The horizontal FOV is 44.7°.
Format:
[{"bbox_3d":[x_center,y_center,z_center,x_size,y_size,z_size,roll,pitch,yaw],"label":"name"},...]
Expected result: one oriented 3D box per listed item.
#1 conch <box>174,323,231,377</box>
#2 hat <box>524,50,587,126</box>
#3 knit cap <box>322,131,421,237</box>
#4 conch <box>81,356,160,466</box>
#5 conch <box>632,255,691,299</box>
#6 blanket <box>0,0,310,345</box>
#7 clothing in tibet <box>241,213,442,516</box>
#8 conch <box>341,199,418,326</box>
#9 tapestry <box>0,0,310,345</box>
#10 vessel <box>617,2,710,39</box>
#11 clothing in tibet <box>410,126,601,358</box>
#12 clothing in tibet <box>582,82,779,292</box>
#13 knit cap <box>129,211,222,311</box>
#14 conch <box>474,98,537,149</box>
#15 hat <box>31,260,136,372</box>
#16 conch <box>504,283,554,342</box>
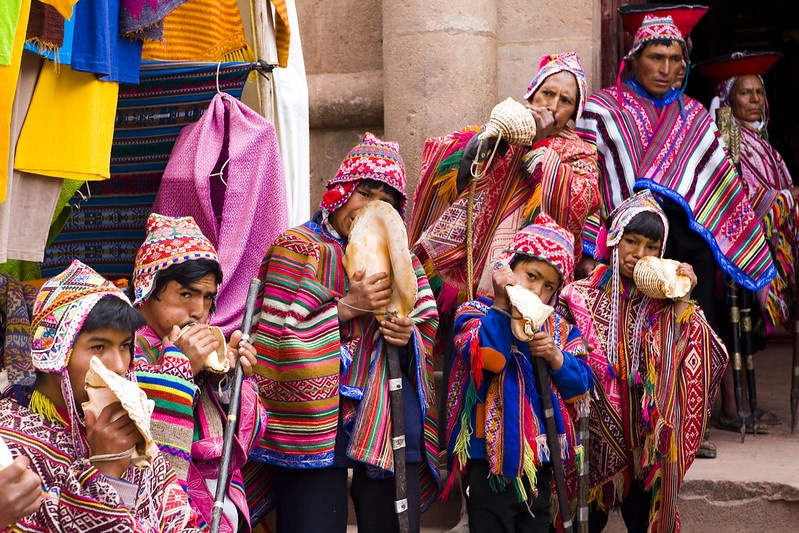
[{"bbox_3d":[-0.874,0.360,4.418,0.191,0.242,0.103,-22,6,-23],"label":"conch"},{"bbox_3d":[0.942,-1.080,5.961,0.352,0.436,0.421,6,-9,-1],"label":"hat"},{"bbox_3d":[-0.134,-0.460,5.048,0.391,0.444,0.411,20,-24,-26],"label":"knit cap"},{"bbox_3d":[-1.110,0.576,3.831,0.277,0.435,0.172,3,-2,-20],"label":"conch"},{"bbox_3d":[1.419,0.056,5.260,0.234,0.228,0.251,4,-3,-39],"label":"conch"},{"bbox_3d":[-0.869,-0.427,5.590,1.353,1.877,0.539,3,-5,0],"label":"blanket"},{"bbox_3d":[-0.379,0.464,4.770,0.988,1.511,0.396,5,-7,-29],"label":"clothing in tibet"},{"bbox_3d":[-0.110,-0.004,4.801,0.439,0.745,0.226,-9,-43,6],"label":"conch"},{"bbox_3d":[-0.865,-0.419,5.585,1.353,1.877,0.539,3,-5,0],"label":"tapestry"},{"bbox_3d":[1.753,-1.723,6.634,0.369,0.145,0.353,-1,3,-44],"label":"vessel"},{"bbox_3d":[0.567,-0.304,5.749,0.978,1.281,0.709,13,-22,-2],"label":"clothing in tibet"},{"bbox_3d":[1.797,-0.499,6.324,1.221,1.290,0.299,-16,-13,-4],"label":"clothing in tibet"},{"bbox_3d":[-1.075,-0.041,4.546,0.415,0.449,0.395,4,4,44],"label":"knit cap"},{"bbox_3d":[0.596,-0.794,5.431,0.280,0.231,0.157,-26,-25,6],"label":"conch"},{"bbox_3d":[-1.325,0.158,4.047,0.340,0.393,0.363,4,2,18],"label":"hat"},{"bbox_3d":[0.625,0.228,4.748,0.222,0.236,0.082,25,-36,-2],"label":"conch"}]
